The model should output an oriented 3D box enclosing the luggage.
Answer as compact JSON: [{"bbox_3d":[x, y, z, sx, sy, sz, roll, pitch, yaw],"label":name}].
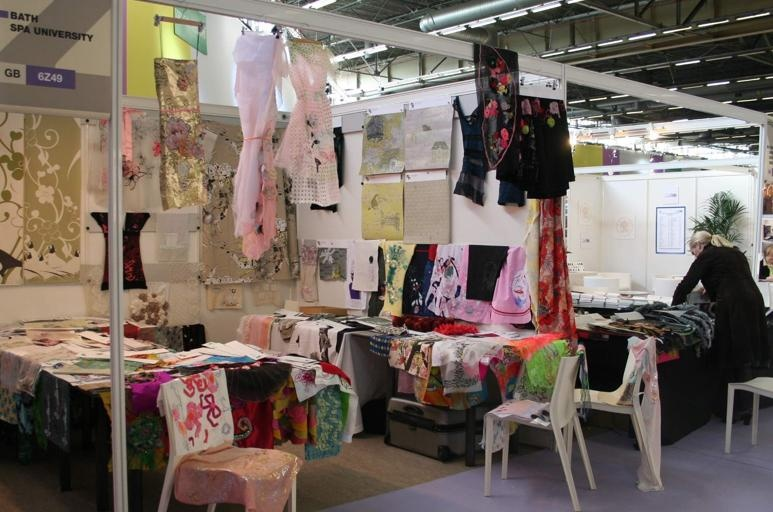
[{"bbox_3d":[0.479,1.623,5.503,0.726,0.462,0.888,2,-3,-44],"label":"luggage"}]

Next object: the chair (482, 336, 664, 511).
[{"bbox_3d":[1.455,1.282,4.603,1.501,1.193,0.806,-2,5,-24],"label":"chair"}]

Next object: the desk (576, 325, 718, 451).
[{"bbox_3d":[2.605,1.251,5.910,1.227,0.941,1.255,0,1,-6],"label":"desk"}]
